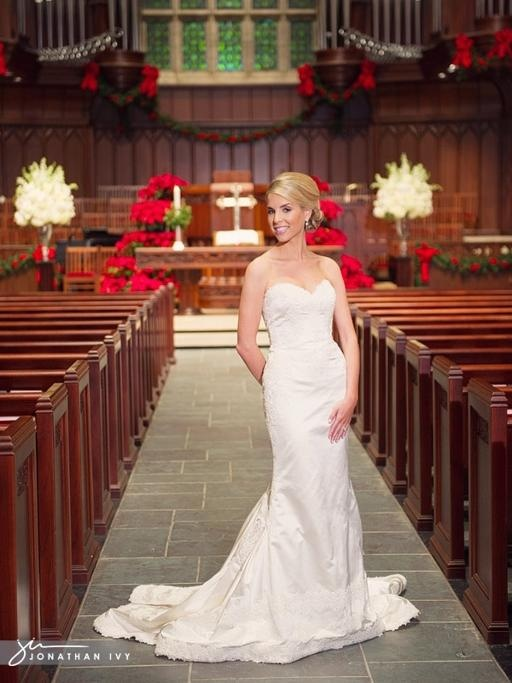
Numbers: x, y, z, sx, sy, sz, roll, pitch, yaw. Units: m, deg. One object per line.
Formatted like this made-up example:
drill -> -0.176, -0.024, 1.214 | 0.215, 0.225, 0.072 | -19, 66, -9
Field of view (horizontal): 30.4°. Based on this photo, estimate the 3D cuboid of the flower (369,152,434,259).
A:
flower -> 2.066, -1.871, 12.926 | 0.688, 1.091, 0.778 | 17, 29, 30

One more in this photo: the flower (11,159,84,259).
flower -> -2.783, -1.736, 12.446 | 0.671, 1.198, 0.697 | 1, 21, 11

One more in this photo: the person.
person -> 0.060, 0.263, 3.505 | 1.105, 1.745, 0.598 | -4, 9, -9
